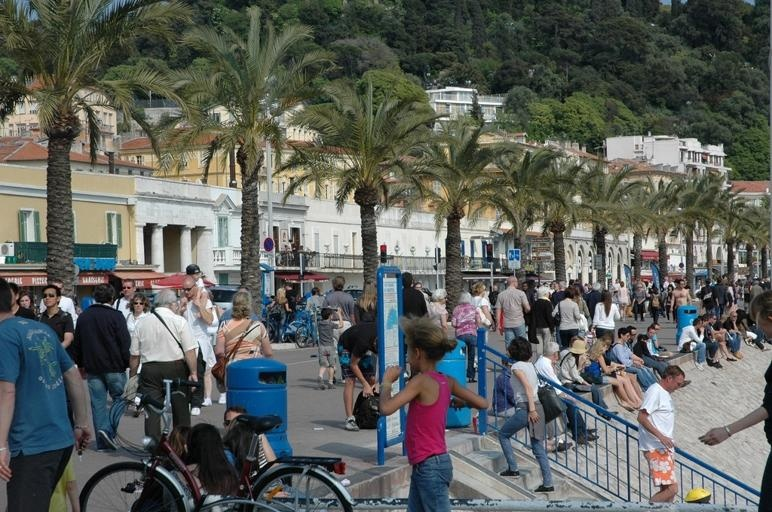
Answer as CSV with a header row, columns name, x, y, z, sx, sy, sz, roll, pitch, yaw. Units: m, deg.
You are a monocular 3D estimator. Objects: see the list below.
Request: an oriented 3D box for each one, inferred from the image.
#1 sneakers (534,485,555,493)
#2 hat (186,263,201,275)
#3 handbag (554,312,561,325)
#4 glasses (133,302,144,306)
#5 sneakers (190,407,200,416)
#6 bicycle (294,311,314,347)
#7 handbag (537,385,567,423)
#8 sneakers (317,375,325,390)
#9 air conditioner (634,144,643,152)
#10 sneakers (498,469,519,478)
name,x,y,z,sx,sy,sz,roll,pitch,yaw
sneakers,5.312,7.715,49.027,0.580,0.284,0.246,3,-1,5
hat,-6.697,0.494,50.866,0.366,0.264,0.381,5,13,28
handbag,6.642,2.423,56.905,0.088,0.422,0.403,2,8,-18
glasses,-8.047,1.568,48.547,0.257,0.102,0.069,0,1,-37
sneakers,-6.460,5.270,50.348,0.276,0.280,0.199,-6,7,-33
bicycle,-3.605,3.349,64.848,0.803,1.089,1.635,-1,-6,6
handbag,5.523,4.870,49.093,0.567,1.331,1.258,-28,-10,13
sneakers,-2.331,4.640,54.277,0.202,0.500,0.206,-6,-5,2
air conditioner,34.012,-14.377,197.721,0.463,1.174,1.500,1,1,41
sneakers,4.128,7.151,48.881,0.647,0.277,0.293,1,1,5
